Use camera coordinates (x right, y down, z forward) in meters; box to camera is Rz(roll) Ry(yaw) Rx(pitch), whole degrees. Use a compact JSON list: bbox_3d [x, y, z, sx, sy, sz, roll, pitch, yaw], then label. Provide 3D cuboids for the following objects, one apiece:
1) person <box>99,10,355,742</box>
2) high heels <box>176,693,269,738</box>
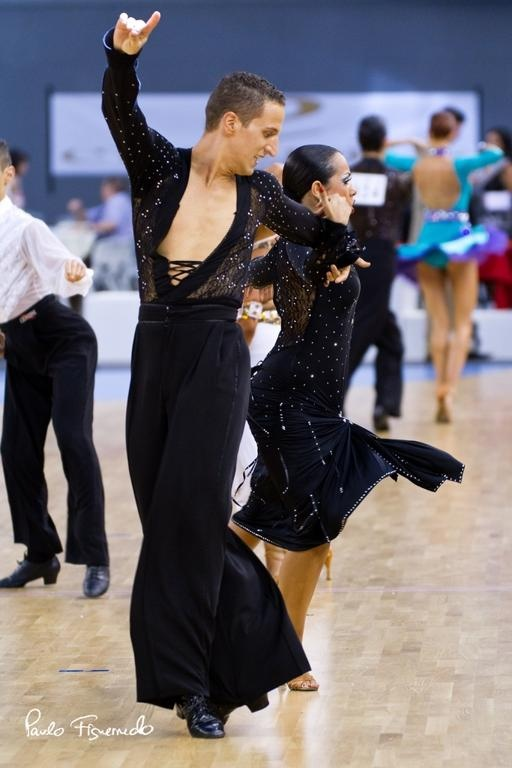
[{"bbox_3d":[-0.115,0.017,1.968,0.332,1.518,0.579,2,4,41],"label":"person"},{"bbox_3d":[-0.086,0.726,1.949,0.085,0.095,0.243,0,0,-34],"label":"high heels"}]
